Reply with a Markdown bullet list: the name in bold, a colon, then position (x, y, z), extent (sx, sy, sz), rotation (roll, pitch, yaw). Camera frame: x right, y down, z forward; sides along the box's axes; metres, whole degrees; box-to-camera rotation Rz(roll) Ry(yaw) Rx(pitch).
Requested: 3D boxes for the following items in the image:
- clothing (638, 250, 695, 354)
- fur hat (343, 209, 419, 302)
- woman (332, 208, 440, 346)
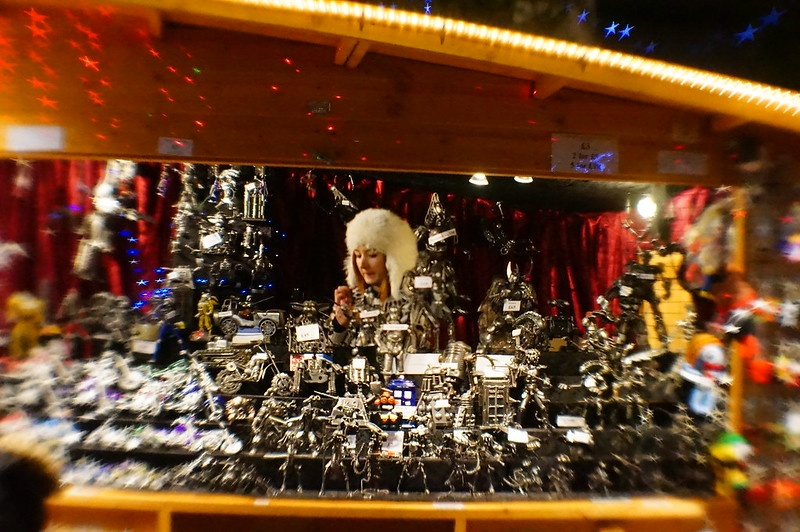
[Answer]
- **clothing**: position (1.455, 0.178, 3.025), extent (0.366, 0.440, 0.120), rotation (-4, -8, 36)
- **fur hat**: position (-0.039, -0.083, 3.577), extent (0.586, 0.605, 0.530), rotation (-1, 1, 14)
- **woman**: position (-0.068, 0.088, 3.322), extent (0.749, 0.882, 0.530), rotation (-7, -16, 24)
